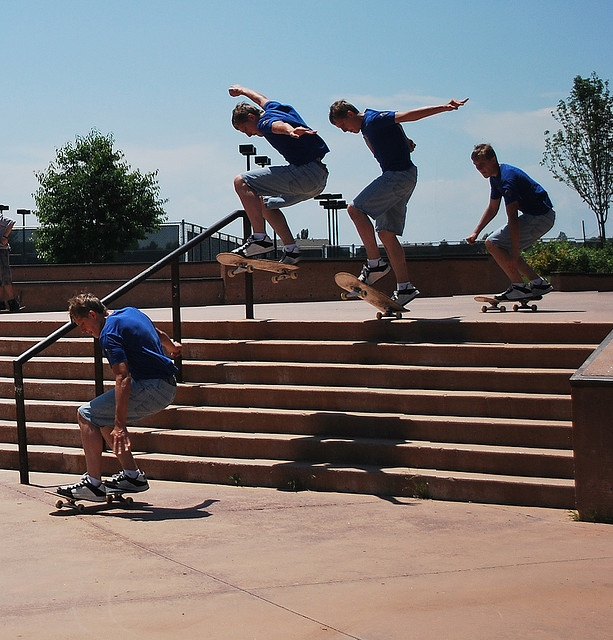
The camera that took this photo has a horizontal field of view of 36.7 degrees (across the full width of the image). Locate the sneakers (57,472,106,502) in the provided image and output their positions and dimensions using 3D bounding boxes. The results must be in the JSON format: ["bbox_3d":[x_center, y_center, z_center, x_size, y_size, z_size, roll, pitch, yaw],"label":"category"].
[{"bbox_3d":[-1.441,1.104,6.027,0.367,0.184,0.127,8,-7,-14],"label":"sneakers"}]

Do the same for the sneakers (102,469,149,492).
[{"bbox_3d":[-1.190,1.076,6.149,0.330,0.134,0.118,3,-2,0],"label":"sneakers"}]

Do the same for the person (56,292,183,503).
[{"bbox_3d":[-1.264,0.521,6.202,0.658,1.366,0.940,0,8,12],"label":"person"}]

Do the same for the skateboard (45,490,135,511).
[{"bbox_3d":[-1.405,1.185,5.996,0.556,0.087,0.193,4,3,-29],"label":"skateboard"}]

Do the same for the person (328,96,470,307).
[{"bbox_3d":[0.626,-0.932,7.717,0.787,1.774,1.036,-2,8,2],"label":"person"}]

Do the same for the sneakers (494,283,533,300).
[{"bbox_3d":[2.015,-0.262,8.923,0.436,0.168,0.145,-1,3,-1],"label":"sneakers"}]

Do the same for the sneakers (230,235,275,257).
[{"bbox_3d":[-0.443,-0.622,7.977,0.446,0.185,0.147,-3,6,-1],"label":"sneakers"}]

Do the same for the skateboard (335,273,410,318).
[{"bbox_3d":[0.567,-0.178,7.769,0.275,0.151,0.888,-10,-34,46],"label":"skateboard"}]

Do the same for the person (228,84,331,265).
[{"bbox_3d":[-0.238,-1.194,7.629,0.836,1.535,0.937,-2,8,1],"label":"person"}]

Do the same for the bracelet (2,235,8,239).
[{"bbox_3d":[-3.886,-1.060,11.821,0.040,0.042,0.042,1,-8,-42],"label":"bracelet"}]
